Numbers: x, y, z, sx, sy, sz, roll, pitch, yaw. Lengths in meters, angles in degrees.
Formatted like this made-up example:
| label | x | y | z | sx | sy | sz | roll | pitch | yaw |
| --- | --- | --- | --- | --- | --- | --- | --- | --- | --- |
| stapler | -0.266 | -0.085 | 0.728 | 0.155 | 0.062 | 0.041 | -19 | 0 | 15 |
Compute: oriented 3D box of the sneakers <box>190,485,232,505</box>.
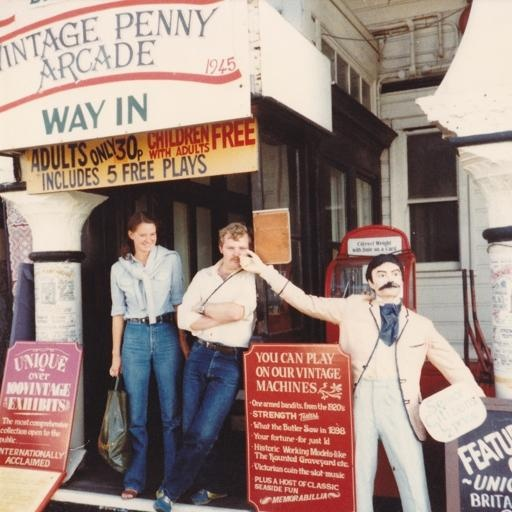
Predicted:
| label | x | y | z | sx | sy | sz | roll | pitch | yaw |
| --- | --- | --- | --- | --- | --- | --- | --- | --- | --- |
| sneakers | -0.315 | 1.649 | 4.422 | 0.221 | 0.110 | 0.093 | 6 | -2 | -31 |

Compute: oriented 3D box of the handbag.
| label | x | y | z | sx | sy | sz | roll | pitch | yaw |
| --- | --- | --- | --- | --- | --- | --- | --- | --- | --- |
| handbag | -1.043 | 1.264 | 4.740 | 0.237 | 0.689 | 0.156 | -3 | -4 | 42 |
